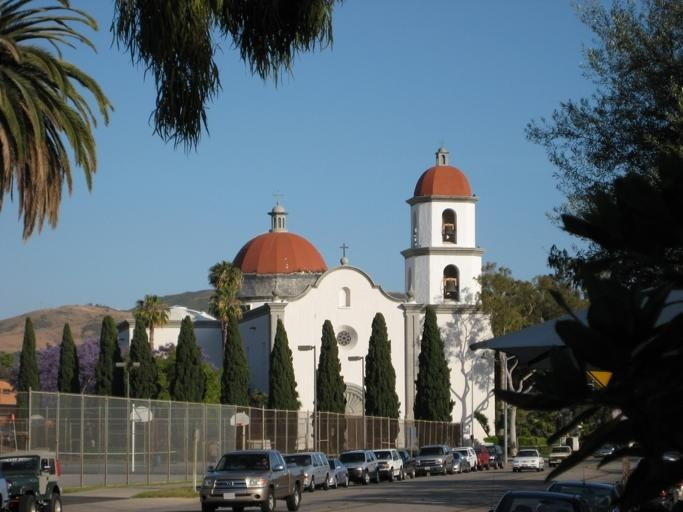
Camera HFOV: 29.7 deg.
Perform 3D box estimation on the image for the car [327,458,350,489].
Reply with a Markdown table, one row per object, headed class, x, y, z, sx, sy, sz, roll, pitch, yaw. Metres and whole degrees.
| class | x | y | z | sx | sy | sz | roll | pitch | yaw |
| --- | --- | --- | --- | --- | --- | --- | --- | --- | --- |
| car | -0.154 | 8.188 | 48.149 | 0.723 | 0.837 | 2.031 | -1 | -16 | 2 |
